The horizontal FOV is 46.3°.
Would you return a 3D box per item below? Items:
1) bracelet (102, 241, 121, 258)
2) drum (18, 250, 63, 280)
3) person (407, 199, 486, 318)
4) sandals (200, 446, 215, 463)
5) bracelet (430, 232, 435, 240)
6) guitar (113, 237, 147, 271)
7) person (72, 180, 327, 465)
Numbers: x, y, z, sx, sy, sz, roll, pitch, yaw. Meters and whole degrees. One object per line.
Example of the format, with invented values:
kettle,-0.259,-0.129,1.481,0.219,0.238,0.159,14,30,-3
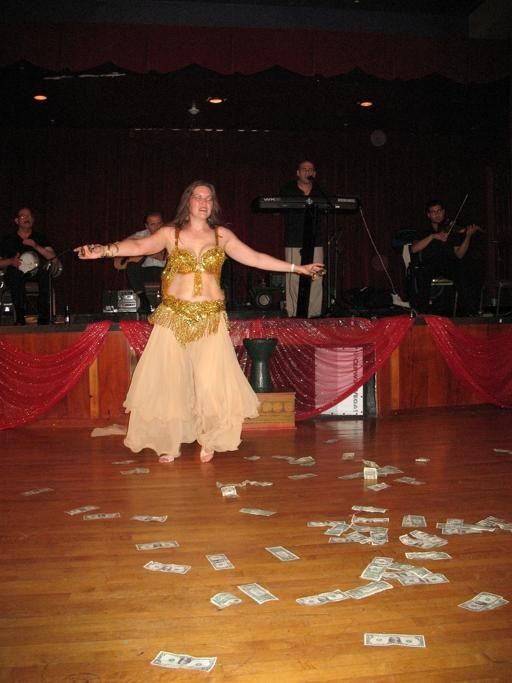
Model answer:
bracelet,-0.847,-0.535,3.471,0.073,0.046,0.089,-2,43,-15
drum,-2.309,-0.814,6.354,0.235,0.154,0.338,-23,-12,9
person,2.117,-0.956,6.673,0.767,1.196,0.695,-4,0,24
sandals,-0.295,0.675,3.582,0.101,0.094,0.258,0,-5,-3
bracelet,1.893,-1.142,6.467,0.074,0.061,0.031,-2,-15,-1
guitar,-1.581,-1.004,7.386,0.687,0.333,0.146,-7,-7,31
person,-0.401,-0.125,3.614,1.005,1.691,0.292,0,1,-8
